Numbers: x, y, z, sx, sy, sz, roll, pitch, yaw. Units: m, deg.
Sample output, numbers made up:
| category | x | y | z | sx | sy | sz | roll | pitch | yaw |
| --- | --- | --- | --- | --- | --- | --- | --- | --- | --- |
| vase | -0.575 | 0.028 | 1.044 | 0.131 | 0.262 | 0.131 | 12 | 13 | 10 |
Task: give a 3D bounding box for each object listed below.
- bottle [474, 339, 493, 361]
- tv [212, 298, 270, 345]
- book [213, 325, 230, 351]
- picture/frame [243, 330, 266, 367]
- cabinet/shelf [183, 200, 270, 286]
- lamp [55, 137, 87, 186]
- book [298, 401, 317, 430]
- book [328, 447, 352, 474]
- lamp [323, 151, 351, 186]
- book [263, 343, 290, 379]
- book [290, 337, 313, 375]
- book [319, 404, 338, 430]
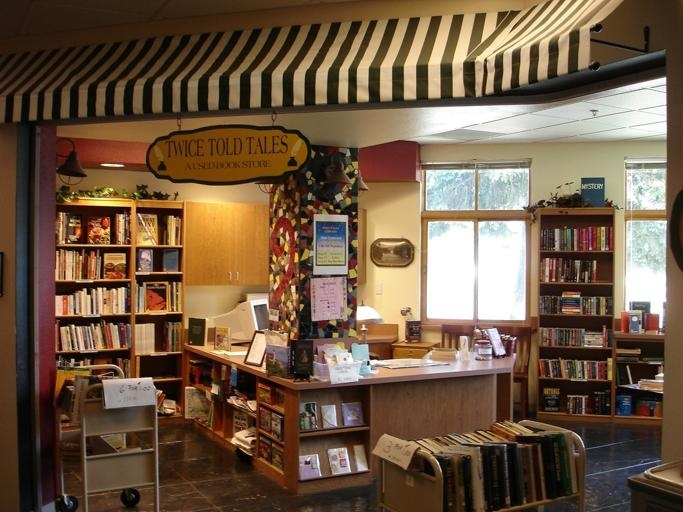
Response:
| category | x | y | z | sx | sy | sz | roll | pitch | yaw |
| --- | --- | --- | --- | --- | --- | --- | --- | --- | --- |
| bottle | 1.744 | 1.153 | 7.218 | 0.204 | 0.201 | 0.208 | 1 | -3 | 0 |
| tv | -1.323 | 0.839 | 7.910 | 0.686 | 0.527 | 0.601 | 3 | 2 | 19 |
| book | -1.556 | 1.069 | 7.680 | 0.290 | 0.347 | 0.045 | -3 | -2 | 42 |
| picture/frame | -1.017 | 1.092 | 6.937 | 0.032 | 0.477 | 0.409 | 15 | -11 | -36 |
| cabinet/shelf | -1.735 | -0.199 | 8.654 | 1.228 | 1.156 | 0.429 | -1 | 4 | -26 |
| lamp | -2.970 | -1.042 | 6.437 | 0.303 | 0.546 | 0.277 | 3 | -3 | 3 |
| book | -0.328 | 1.637 | 6.035 | 0.202 | 0.286 | 0.101 | 0 | 4 | -18 |
| book | -0.027 | 2.128 | 6.161 | 0.247 | 0.252 | 0.255 | 1 | -8 | -21 |
| lamp | -0.055 | -1.030 | 6.688 | 0.386 | 0.424 | 0.406 | 1 | -1 | 1 |
| book | -0.665 | 1.103 | 6.181 | 0.149 | 0.387 | 0.411 | 1 | -3 | -32 |
| book | -0.397 | 1.052 | 6.039 | 0.255 | 0.407 | 0.155 | 0 | 3 | -14 |
| book | -0.125 | 1.665 | 6.108 | 0.168 | 0.236 | 0.232 | -1 | -7 | -9 |
